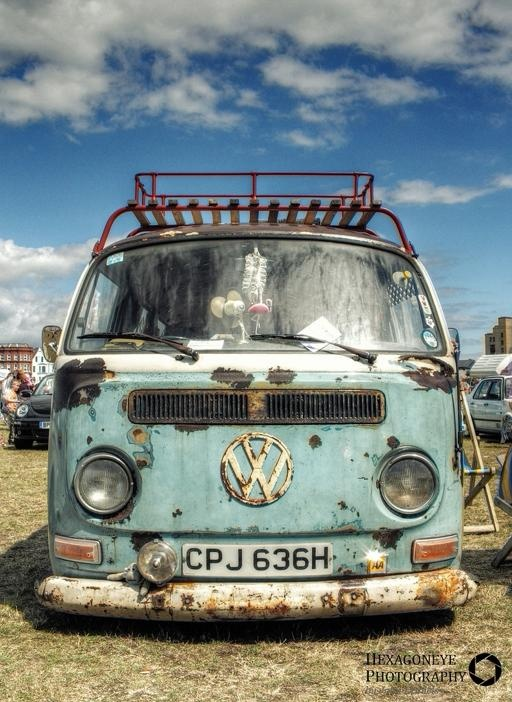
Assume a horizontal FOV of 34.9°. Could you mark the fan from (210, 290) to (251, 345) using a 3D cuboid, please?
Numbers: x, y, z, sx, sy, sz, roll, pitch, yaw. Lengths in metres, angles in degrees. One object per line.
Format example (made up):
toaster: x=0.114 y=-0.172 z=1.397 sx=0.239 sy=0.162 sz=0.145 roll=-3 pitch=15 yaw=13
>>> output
fan: x=-0.100 y=-0.176 z=4.001 sx=0.187 sy=0.231 sz=0.232 roll=-7 pitch=11 yaw=-38

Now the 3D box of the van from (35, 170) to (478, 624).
van: x=-0.488 y=0.085 z=5.496 sx=2.553 sy=2.337 sz=3.970 roll=2 pitch=2 yaw=-18
